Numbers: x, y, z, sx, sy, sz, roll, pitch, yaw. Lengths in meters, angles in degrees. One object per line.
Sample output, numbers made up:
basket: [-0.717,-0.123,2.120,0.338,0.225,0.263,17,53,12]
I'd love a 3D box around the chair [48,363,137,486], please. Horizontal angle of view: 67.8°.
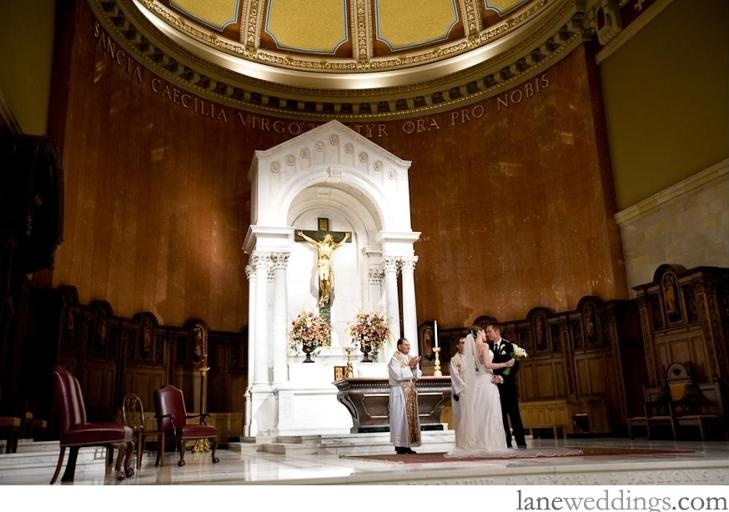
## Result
chair: [-3.168,1.952,6.394,0.886,1.253,0.974,3,-16,-19]

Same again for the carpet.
carpet: [2.012,2.531,6.918,3.624,0.074,1.916,-2,-16,-4]

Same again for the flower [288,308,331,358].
flower: [-1.129,1.620,11.582,0.894,1.038,0.983,2,-8,-16]

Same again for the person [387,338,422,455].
person: [0.609,2.087,8.223,0.489,1.677,0.640,-4,-15,7]

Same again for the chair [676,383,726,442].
chair: [5.880,2.744,9.470,0.487,0.893,0.513,18,-26,-17]

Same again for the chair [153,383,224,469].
chair: [-2.873,2.614,8.567,0.807,1.252,0.821,-13,-18,23]

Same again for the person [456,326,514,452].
person: [1.552,1.797,7.337,0.704,1.586,0.340,-4,-15,6]

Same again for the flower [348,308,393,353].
flower: [0.115,1.569,11.490,0.793,0.867,0.832,-4,-7,18]

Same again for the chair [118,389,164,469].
chair: [-3.142,2.560,7.992,0.474,0.989,0.546,0,-21,-13]
